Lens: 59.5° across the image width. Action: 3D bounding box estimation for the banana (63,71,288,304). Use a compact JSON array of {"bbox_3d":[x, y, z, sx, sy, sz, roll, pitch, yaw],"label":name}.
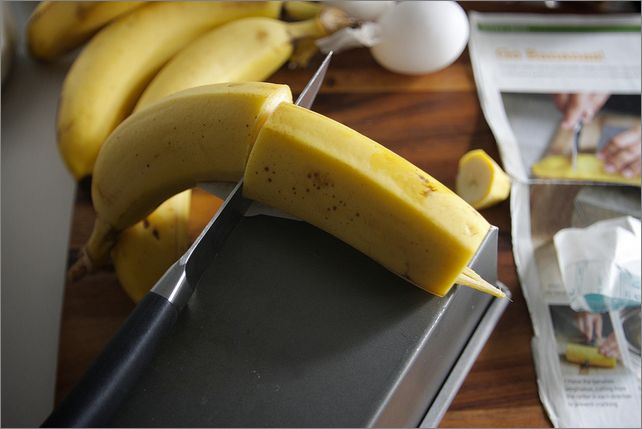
[{"bbox_3d":[-0.175,-0.021,0.673,0.227,0.067,0.186,-12,74,16],"label":"banana"}]
